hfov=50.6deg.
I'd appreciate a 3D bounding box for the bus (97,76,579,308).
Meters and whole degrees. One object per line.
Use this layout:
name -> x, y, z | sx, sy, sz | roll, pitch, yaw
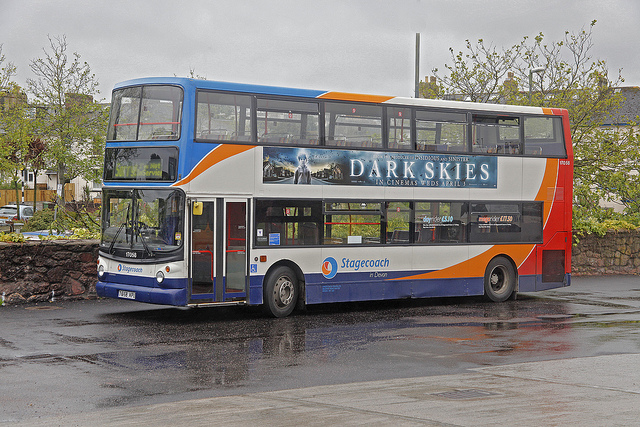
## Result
bus -> 1.267, -0.703, 20.213 | 13.702, 5.358, 4.314 | 0, 7, -30
